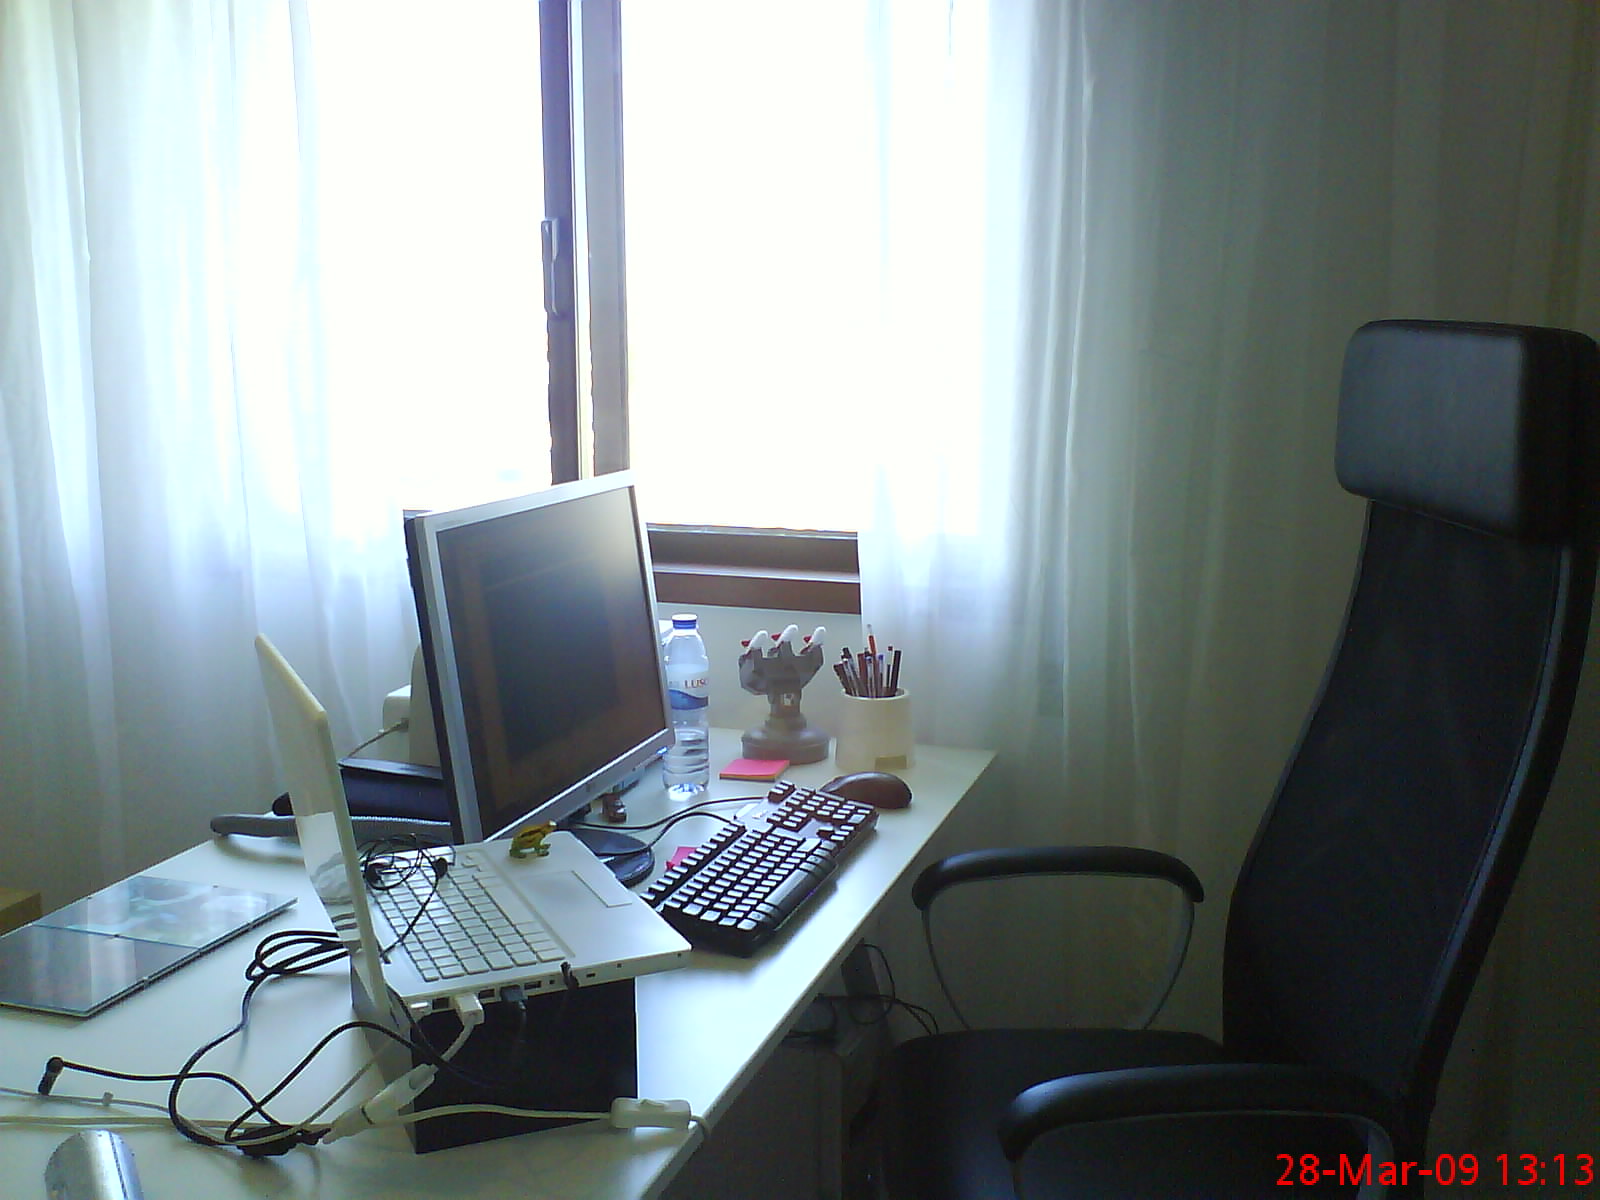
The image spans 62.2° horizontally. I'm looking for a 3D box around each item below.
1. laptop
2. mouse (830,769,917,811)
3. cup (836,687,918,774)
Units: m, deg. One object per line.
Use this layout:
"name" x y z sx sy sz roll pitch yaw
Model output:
"laptop" -0.384 0.149 1.565 0.420 0.393 0.508 -5 13 -26
"mouse" 0.120 0.318 2.203 0.108 0.038 0.064 5 5 -9
"cup" 0.137 0.243 2.383 0.126 0.124 0.130 0 2 0
